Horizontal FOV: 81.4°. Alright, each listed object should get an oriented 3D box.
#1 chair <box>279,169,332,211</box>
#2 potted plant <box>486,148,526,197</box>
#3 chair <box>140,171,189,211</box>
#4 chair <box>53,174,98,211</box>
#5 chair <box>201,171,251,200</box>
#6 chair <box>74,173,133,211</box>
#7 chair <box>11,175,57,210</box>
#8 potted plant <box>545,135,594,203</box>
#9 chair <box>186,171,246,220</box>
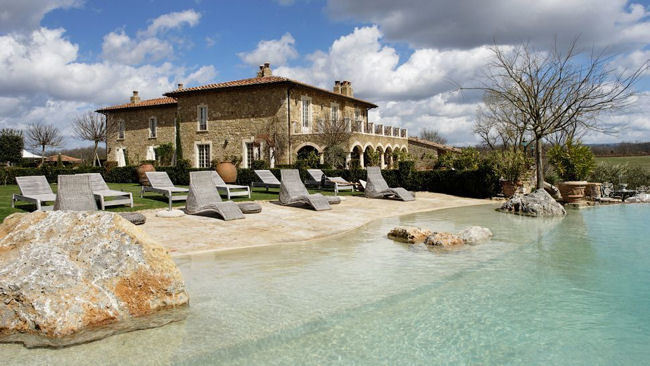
[{"bbox_3d":[-0.888,0.279,16.970,1.427,1.625,2.426,-6,11,-38],"label":"chair"},{"bbox_3d":[10.624,-0.629,22.278,2.910,3.013,2.542,0,2,14],"label":"potted plant"},{"bbox_3d":[-7.148,0.299,17.574,3.238,1.295,1.702,7,6,44],"label":"chair"},{"bbox_3d":[-9.103,0.391,13.954,1.560,1.340,1.378,2,-5,-43],"label":"chair"},{"bbox_3d":[-4.941,0.215,19.533,1.213,1.097,3.040,-3,5,-39],"label":"chair"},{"bbox_3d":[-9.320,0.302,16.137,2.223,1.003,1.209,14,14,34],"label":"chair"},{"bbox_3d":[-11.390,0.388,15.397,2.397,0.913,1.371,9,13,30],"label":"chair"},{"bbox_3d":[12.944,-0.680,20.056,1.883,3.403,1.667,6,11,32],"label":"potted plant"},{"bbox_3d":[-4.221,0.472,14.424,2.225,1.657,1.265,9,12,44],"label":"chair"}]
